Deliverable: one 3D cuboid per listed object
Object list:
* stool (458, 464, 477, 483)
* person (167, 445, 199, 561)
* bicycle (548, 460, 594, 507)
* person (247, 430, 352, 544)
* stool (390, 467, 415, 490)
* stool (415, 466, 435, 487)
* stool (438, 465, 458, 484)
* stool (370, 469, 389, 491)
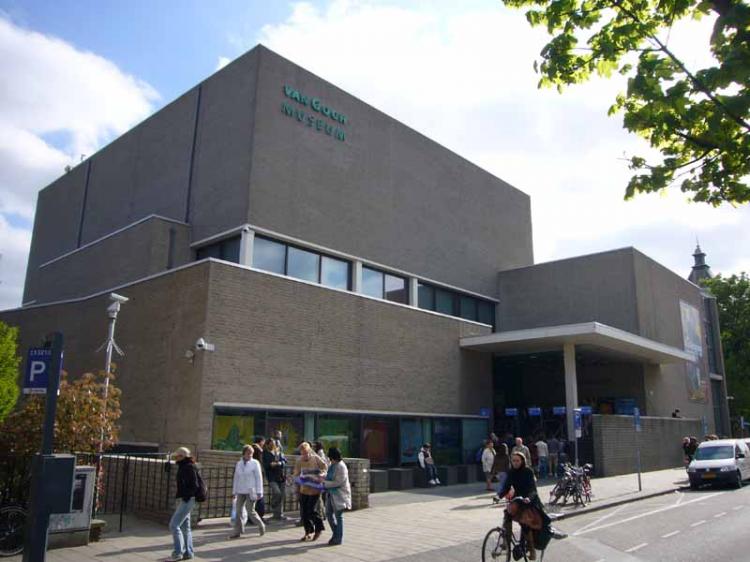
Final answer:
[{"bbox_3d":[4.086,8.350,24.809,0.708,0.764,0.732,-8,-12,42],"label":"stool"},{"bbox_3d":[-3.787,4.414,11.442,0.467,2.090,0.620,3,-17,-17],"label":"person"},{"bbox_3d":[6.493,6.652,18.600,1.038,1.396,2.295,-22,-33,38],"label":"bicycle"},{"bbox_3d":[-1.167,4.759,12.898,1.280,2.171,0.536,-8,-17,19],"label":"person"},{"bbox_3d":[0.976,7.603,21.977,0.753,0.793,0.795,-2,-9,16],"label":"stool"},{"bbox_3d":[1.919,7.889,22.986,0.598,0.892,0.873,-4,-10,15],"label":"stool"},{"bbox_3d":[3.122,8.091,23.837,0.785,0.812,0.802,-9,-14,42],"label":"stool"},{"bbox_3d":[0.041,7.149,20.776,0.785,0.804,0.809,-2,-7,20],"label":"stool"}]
